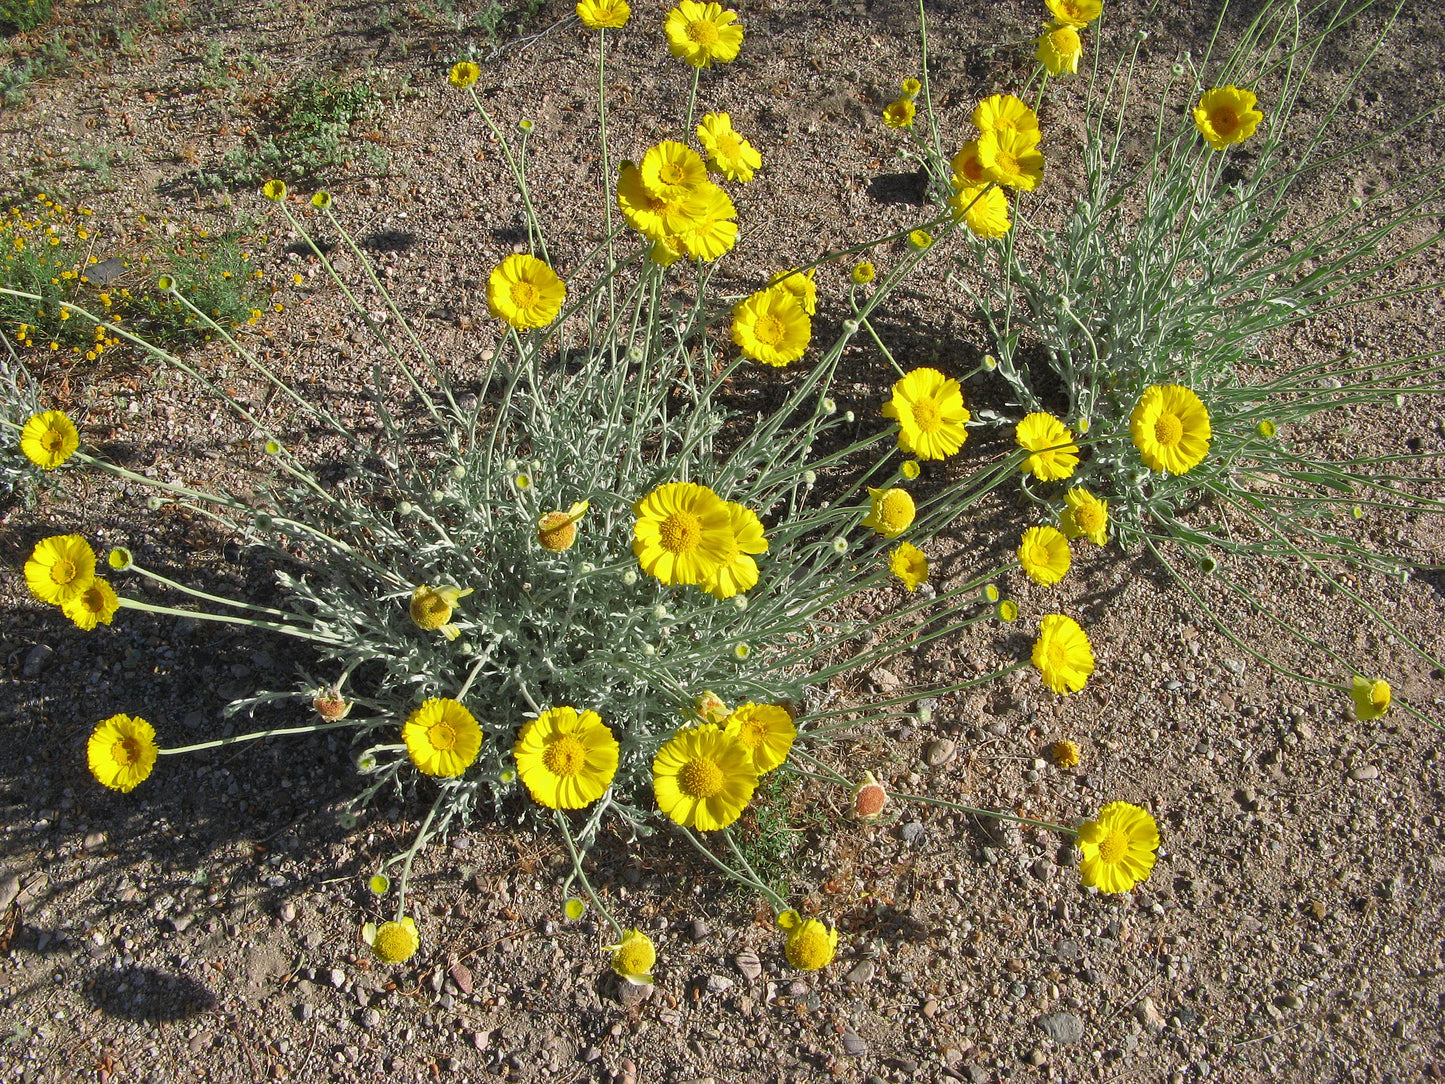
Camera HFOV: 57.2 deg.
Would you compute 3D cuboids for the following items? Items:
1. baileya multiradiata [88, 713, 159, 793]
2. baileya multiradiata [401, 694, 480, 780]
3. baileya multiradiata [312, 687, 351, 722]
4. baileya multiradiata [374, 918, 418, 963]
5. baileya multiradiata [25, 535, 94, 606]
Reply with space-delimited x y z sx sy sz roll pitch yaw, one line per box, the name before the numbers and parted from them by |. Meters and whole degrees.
baileya multiradiata | -1.819 0.627 4.016 0.186 0.096 0.208 -31 80 -14
baileya multiradiata | -0.823 0.582 3.906 0.207 0.143 0.215 -33 80 -14
baileya multiradiata | -1.208 0.521 4.095 0.111 0.054 0.131 -9 101 -16
baileya multiradiata | -0.958 1.167 3.869 0.116 0.220 0.110 -17 76 -11
baileya multiradiata | -1.990 0.063 3.975 0.182 0.075 0.182 -30 41 -32
